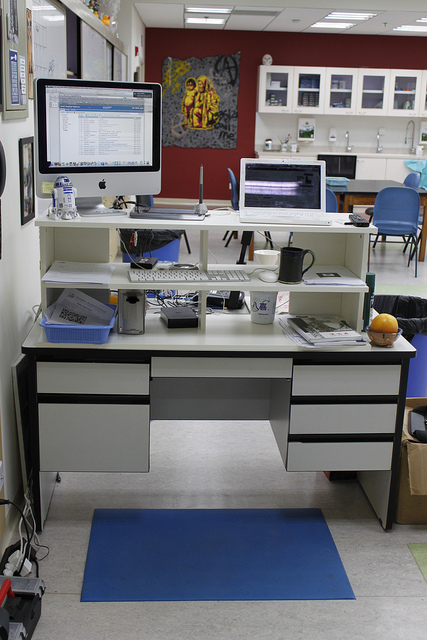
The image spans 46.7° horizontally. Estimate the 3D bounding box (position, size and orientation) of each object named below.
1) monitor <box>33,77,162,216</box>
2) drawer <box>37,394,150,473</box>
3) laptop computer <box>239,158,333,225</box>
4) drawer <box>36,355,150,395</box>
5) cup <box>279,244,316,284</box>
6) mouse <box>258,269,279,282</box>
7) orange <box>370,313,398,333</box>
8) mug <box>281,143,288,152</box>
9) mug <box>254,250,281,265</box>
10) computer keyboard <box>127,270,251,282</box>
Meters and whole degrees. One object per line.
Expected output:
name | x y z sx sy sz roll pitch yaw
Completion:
monitor | -0.427 -0.635 1.810 0.555 0.589 0.175 -1 22 -19
drawer | -0.431 0.411 1.769 0.297 0.247 0.321 0 15 -3
laptop computer | 0.266 -0.473 1.831 0.335 0.247 0.241 3 9 3
drawer | -0.416 0.195 1.710 0.208 0.053 0.202 1 16 -7
cup | 0.301 -0.194 1.780 0.119 0.127 0.075 14 25 29
mouse | 0.207 -0.164 1.871 0.042 0.025 0.064 1 17 0
orange | 0.629 0.001 1.817 0.068 0.072 0.069 -2 17 -7
mug | 1.344 -3.273 9.449 0.128 0.161 0.138 -2 28 -2
mug | 0.234 -0.273 2.178 0.097 0.059 0.126 3 9 6
computer keyboard | -0.089 -0.158 1.826 0.448 0.039 0.200 0 10 -12
